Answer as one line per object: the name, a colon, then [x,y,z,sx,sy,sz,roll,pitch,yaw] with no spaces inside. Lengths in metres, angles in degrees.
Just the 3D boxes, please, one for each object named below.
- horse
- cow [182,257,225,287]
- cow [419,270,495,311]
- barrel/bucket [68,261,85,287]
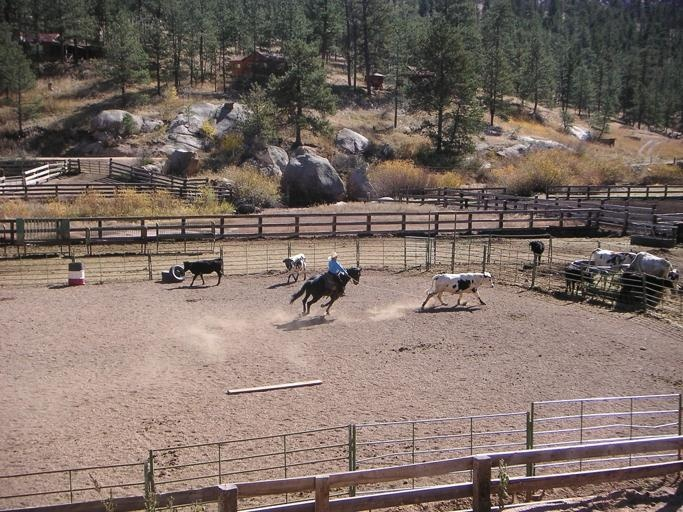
horse: [-1.194,2.251,65.003,4.264,2.685,1.603,-3,15,-9]
cow: [-9.476,0.975,69.055,2.604,1.727,2.155,-3,15,-7]
cow: [7.459,2.071,65.869,5.148,2.056,2.256,-8,17,-23]
barrel/bucket: [-17.853,1.232,68.774,1.297,1.434,1.316,0,2,0]
